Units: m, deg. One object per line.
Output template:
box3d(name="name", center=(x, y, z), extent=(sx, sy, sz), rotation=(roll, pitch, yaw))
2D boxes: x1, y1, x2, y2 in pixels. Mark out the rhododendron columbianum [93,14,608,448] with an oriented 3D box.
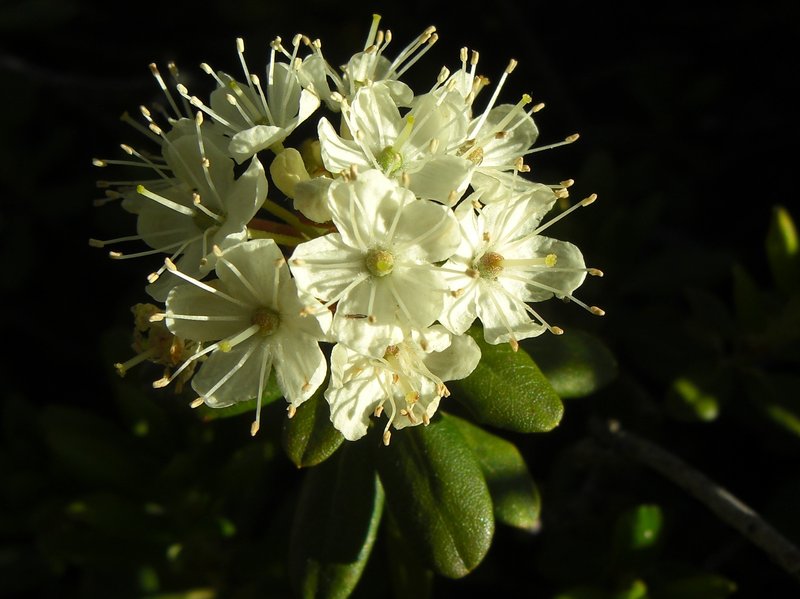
box3d(name="rhododendron columbianum", center=(-0.121, -0.085, 2.613), extent=(1.293, 1.170, 0.682), rotation=(-51, -9, -14))
